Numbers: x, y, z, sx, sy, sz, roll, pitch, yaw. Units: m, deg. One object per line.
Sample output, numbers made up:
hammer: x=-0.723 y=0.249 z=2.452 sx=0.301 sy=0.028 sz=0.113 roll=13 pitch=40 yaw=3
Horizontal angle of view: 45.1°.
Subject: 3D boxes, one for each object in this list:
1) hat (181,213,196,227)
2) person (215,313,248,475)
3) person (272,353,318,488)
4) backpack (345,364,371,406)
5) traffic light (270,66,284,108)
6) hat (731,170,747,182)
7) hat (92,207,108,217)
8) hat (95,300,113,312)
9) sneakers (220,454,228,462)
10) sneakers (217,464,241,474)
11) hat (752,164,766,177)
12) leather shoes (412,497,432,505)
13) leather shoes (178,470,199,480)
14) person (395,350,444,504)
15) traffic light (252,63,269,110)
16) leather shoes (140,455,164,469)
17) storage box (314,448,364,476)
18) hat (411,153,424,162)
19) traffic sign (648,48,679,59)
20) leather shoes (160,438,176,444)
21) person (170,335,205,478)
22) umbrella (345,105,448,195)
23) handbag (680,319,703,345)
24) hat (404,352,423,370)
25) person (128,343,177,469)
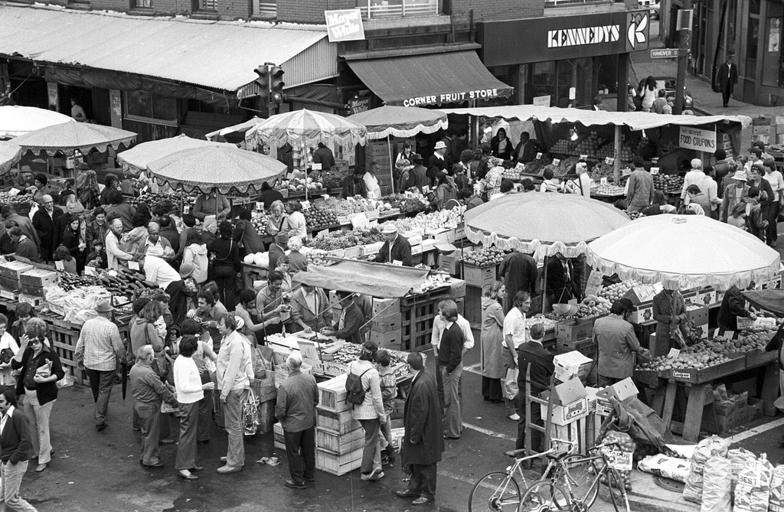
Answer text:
hat: x=-5.283 y=-0.949 z=24.488 sx=0.248 sy=0.361 sz=0.349 roll=-3 pitch=23 yaw=-17
person: x=-3.232 y=2.747 z=18.994 sx=0.660 sy=3.052 sz=0.776 roll=-2 pitch=12 yaw=-10
person: x=-1.848 y=3.212 z=18.541 sx=0.859 sy=2.528 sz=0.625 roll=-5 pitch=13 yaw=-22
backpack: x=-0.667 y=2.540 z=18.677 sx=0.385 sy=0.642 sz=0.638 roll=13 pitch=30 yaw=37
traffic light: x=-3.352 y=-4.941 z=27.267 sx=0.339 sy=1.045 sz=0.851 roll=-1 pitch=12 yaw=-4
hat: x=10.166 y=-2.285 z=27.755 sx=0.388 sy=0.237 sz=0.419 roll=1 pitch=13 yaw=-11
hat: x=-7.697 y=-1.167 z=24.788 sx=0.238 sy=0.314 sz=0.328 roll=-3 pitch=9 yaw=-16
hat: x=-6.157 y=1.064 z=20.047 sx=0.304 sy=0.317 sz=0.272 roll=-1 pitch=13 yaw=-4
sneakers: x=-3.420 y=4.100 z=19.219 sx=0.094 sy=0.146 sz=0.201 roll=-1 pitch=14 yaw=-44
sneakers: x=-3.273 y=4.267 z=18.948 sx=0.457 sy=0.215 sz=0.176 roll=6 pitch=2 yaw=-9
hat: x=11.086 y=-2.619 z=28.738 sx=0.320 sy=0.469 sz=0.420 roll=-2 pitch=0 yaw=27
leather shoes: x=0.561 y=4.676 z=18.070 sx=0.299 sy=0.140 sz=0.171 roll=2 pitch=2 yaw=-1
leather shoes: x=-4.063 y=4.301 z=18.797 sx=0.330 sy=0.139 sz=0.187 roll=2 pitch=12 yaw=24
person: x=0.520 y=3.295 z=18.093 sx=0.827 sy=2.743 sz=0.757 roll=0 pitch=12 yaw=2
traffic light: x=-3.756 y=-5.026 z=27.388 sx=0.382 sy=1.077 sz=0.896 roll=-2 pitch=13 yaw=-8
leather shoes: x=-4.865 y=4.157 z=19.091 sx=0.383 sy=0.175 sz=0.214 roll=-7 pitch=22 yaw=-27
storage box: x=-1.027 y=4.001 z=19.039 sx=0.602 sy=0.415 sz=0.635 roll=4 pitch=6 yaw=37
hat: x=0.784 y=-3.332 z=31.693 sx=0.644 sy=0.190 sz=0.682 roll=3 pitch=9 yaw=3
traffic sign: x=8.843 y=-6.626 z=30.901 sx=0.849 sy=0.361 sz=2.943 roll=3 pitch=14 yaw=16
leather shoes: x=-4.734 y=3.895 z=19.914 sx=0.317 sy=0.144 sz=0.113 roll=-8 pitch=34 yaw=-14
person: x=-4.077 y=2.957 z=18.790 sx=0.529 sy=2.812 sz=0.673 roll=3 pitch=12 yaw=16
umbrella: x=0.144 y=-3.369 z=31.150 sx=3.430 sy=3.350 sz=3.569 roll=-4 pitch=11 yaw=11
handbag: x=6.576 y=1.624 z=20.957 sx=0.464 sy=0.245 sz=0.670 roll=20 pitch=45 yaw=12
hat: x=0.394 y=2.004 z=18.214 sx=0.264 sy=0.330 sz=0.336 roll=-2 pitch=49 yaw=-8
person: x=-4.854 y=2.993 z=19.034 sx=0.754 sy=2.475 sz=0.470 roll=-4 pitch=12 yaw=-16
